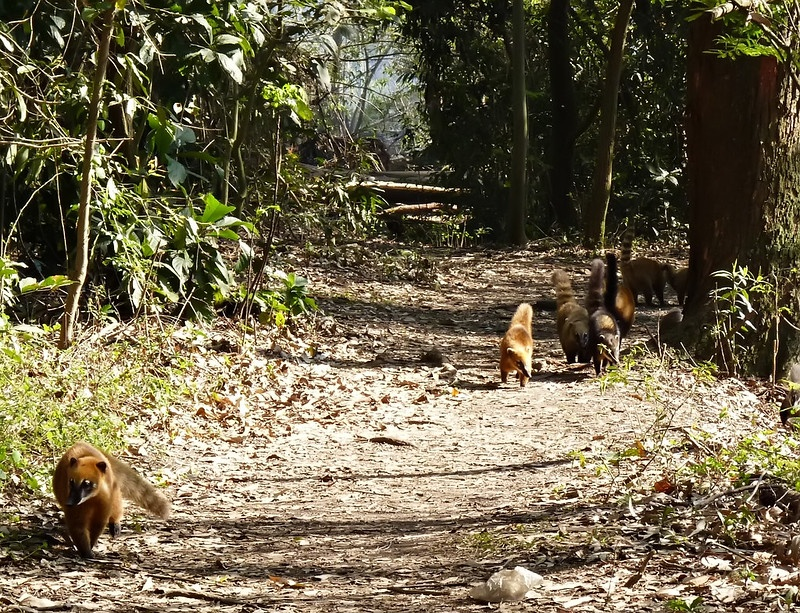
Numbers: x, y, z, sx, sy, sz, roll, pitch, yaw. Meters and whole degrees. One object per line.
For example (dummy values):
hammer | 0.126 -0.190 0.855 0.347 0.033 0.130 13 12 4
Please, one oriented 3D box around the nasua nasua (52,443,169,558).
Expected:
nasua nasua | -1.858 1.195 6.196 0.387 0.646 0.711 2 4 36
